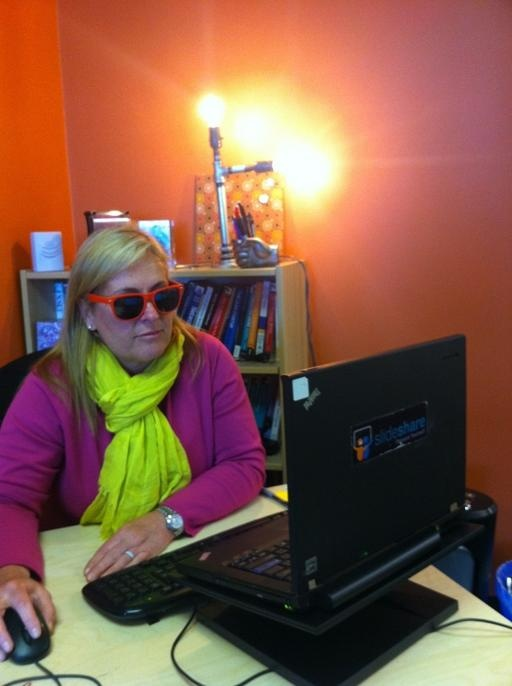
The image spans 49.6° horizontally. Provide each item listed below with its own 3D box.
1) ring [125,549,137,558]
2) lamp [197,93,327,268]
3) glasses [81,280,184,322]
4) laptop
[{"bbox_3d":[-0.219,0.376,0.981,0.011,0.011,0.010,11,51,-13],"label":"ring"},{"bbox_3d":[-0.076,-0.686,2.269,0.500,0.716,0.371,3,14,26],"label":"lamp"},{"bbox_3d":[-0.272,-0.090,1.266,0.211,0.070,0.104,-5,12,-13],"label":"glasses"},{"bbox_3d":[0.102,0.164,0.825,0.418,0.303,0.325,-6,4,-27],"label":"laptop"}]
